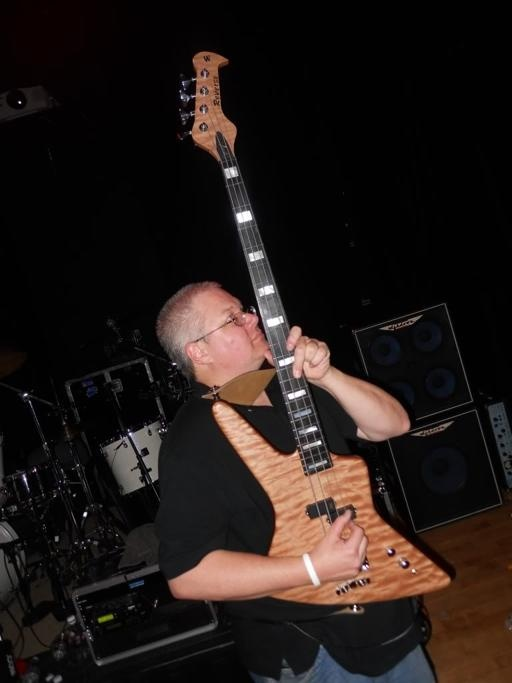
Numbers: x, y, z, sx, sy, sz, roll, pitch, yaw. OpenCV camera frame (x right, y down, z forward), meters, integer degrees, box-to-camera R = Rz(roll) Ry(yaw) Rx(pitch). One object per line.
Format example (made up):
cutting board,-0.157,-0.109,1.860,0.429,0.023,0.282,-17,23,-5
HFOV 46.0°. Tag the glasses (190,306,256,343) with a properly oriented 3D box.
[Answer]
glasses,-0.121,-0.059,2.188,0.164,0.045,0.161,-26,4,11

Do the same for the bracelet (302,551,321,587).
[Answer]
bracelet,0.169,0.704,1.838,0.030,0.115,0.082,-23,-1,-5

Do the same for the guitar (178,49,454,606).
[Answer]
guitar,0.094,0.083,2.039,0.887,2.037,0.211,-14,-3,-10

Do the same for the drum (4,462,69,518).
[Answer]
drum,-1.938,1.290,5.154,0.449,0.412,0.486,-21,-1,-11
